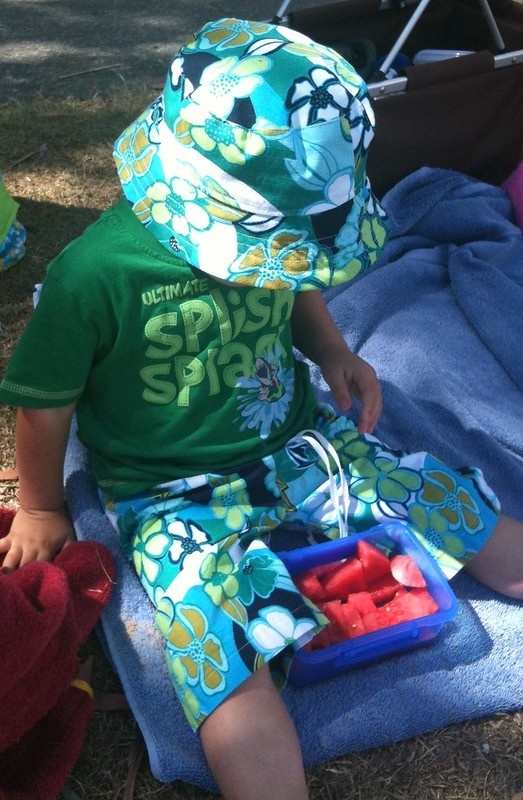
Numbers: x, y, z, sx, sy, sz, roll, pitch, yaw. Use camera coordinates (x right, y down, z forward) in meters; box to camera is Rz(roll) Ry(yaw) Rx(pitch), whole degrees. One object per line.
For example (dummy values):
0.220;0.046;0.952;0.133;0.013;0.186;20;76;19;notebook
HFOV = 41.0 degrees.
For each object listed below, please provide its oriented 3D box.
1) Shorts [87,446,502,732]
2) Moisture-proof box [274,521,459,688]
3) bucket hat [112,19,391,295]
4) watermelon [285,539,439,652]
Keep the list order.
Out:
0.086;0.247;1.145;0.489;0.135;0.508;-22;32;-14;Shorts
0.162;0.361;1.210;0.332;0.132;0.217;-18;56;-11;Moisture-proof box
-0.036;-0.271;0.967;0.361;0.195;0.340;42;64;4;bucket hat
0.155;0.320;1.136;0.212;0.061;0.157;-16;50;-14;watermelon
